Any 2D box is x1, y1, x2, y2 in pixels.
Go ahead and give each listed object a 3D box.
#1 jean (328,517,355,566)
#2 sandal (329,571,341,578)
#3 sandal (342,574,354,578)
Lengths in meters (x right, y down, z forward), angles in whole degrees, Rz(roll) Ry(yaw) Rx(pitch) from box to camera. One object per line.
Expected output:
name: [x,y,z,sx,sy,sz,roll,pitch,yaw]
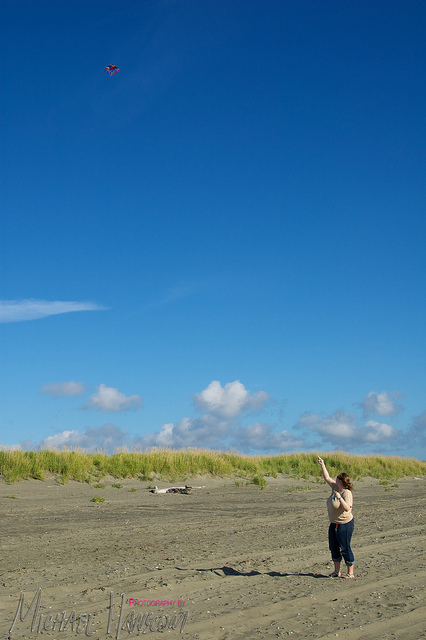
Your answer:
jean: [2.091,3.629,8.969,0.384,0.711,0.309,-5,-12,12]
sandal: [1.965,4.115,8.960,0.157,0.069,0.215,-4,-11,4]
sandal: [2.177,4.123,8.894,0.165,0.067,0.057,-5,-22,22]
